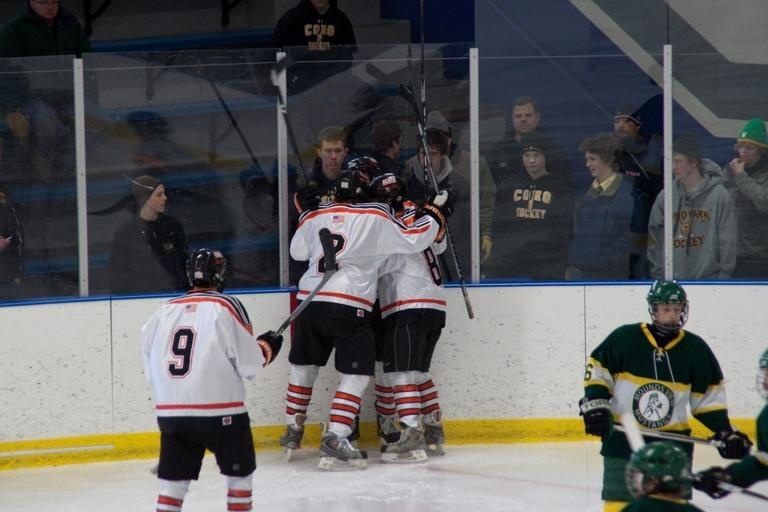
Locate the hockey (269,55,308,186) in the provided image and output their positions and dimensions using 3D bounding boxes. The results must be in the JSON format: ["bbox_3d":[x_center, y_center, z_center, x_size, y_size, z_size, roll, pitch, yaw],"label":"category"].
[{"bbox_3d":[-0.733,-1.050,10.631,0.308,0.949,0.064,2,-2,-27],"label":"hockey"}]

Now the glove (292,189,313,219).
[{"bbox_3d":[-0.625,-0.399,10.533,0.093,0.180,0.201,-8,-8,12],"label":"glove"}]

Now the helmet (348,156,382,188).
[{"bbox_3d":[-0.129,-0.655,10.417,0.281,0.200,0.242,9,17,-24],"label":"helmet"}]

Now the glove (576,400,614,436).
[{"bbox_3d":[1.390,1.062,9.095,0.219,0.225,0.105,-2,-7,12],"label":"glove"}]

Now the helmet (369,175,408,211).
[{"bbox_3d":[0.050,-0.497,10.488,0.314,0.254,0.218,16,15,1],"label":"helmet"}]

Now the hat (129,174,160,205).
[{"bbox_3d":[-1.831,-0.511,10.520,0.234,0.198,0.172,6,13,30],"label":"hat"}]

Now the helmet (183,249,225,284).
[{"bbox_3d":[-1.244,0.060,9.398,0.238,0.232,0.250,4,35,13],"label":"helmet"}]

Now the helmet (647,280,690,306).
[{"bbox_3d":[1.889,0.248,9.279,0.205,0.171,0.196,1,-9,-4],"label":"helmet"}]

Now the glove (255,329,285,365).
[{"bbox_3d":[-0.786,0.608,9.489,0.190,0.183,0.229,20,-38,11],"label":"glove"}]

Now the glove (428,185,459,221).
[{"bbox_3d":[0.459,-0.426,10.536,0.252,0.237,0.113,-38,16,-27],"label":"glove"}]

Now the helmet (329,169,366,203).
[{"bbox_3d":[-0.255,-0.512,10.260,0.239,0.218,0.251,0,-12,16],"label":"helmet"}]
